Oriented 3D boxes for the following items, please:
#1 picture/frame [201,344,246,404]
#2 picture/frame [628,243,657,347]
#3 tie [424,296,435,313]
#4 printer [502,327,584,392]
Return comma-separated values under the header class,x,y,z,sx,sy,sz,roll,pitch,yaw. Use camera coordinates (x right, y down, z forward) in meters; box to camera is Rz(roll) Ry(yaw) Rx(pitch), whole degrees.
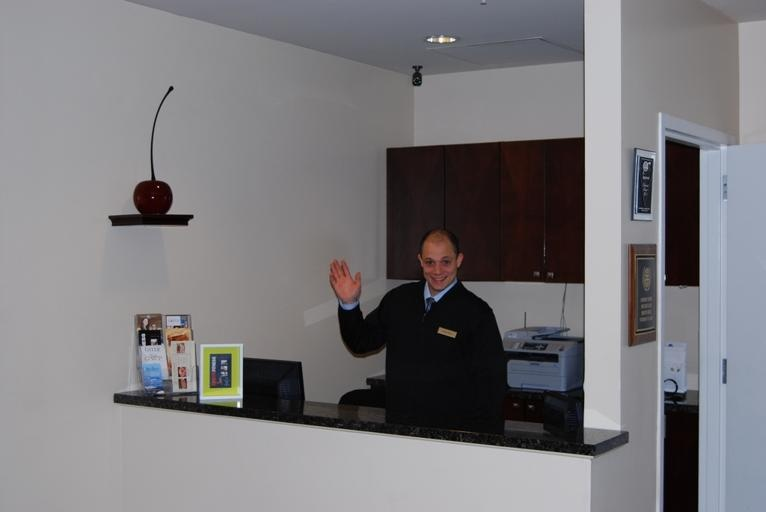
class,x,y,z,sx,sy,sz,roll,pitch,yaw
picture/frame,-0.923,0.671,3.827,0.285,0.398,0.039,0,-2,-10
picture/frame,1.302,0.191,3.400,0.056,0.611,0.510,-1,-1,27
tie,0.259,0.267,3.801,0.050,0.076,0.019,-6,-19,40
printer,1.236,0.760,5.042,0.569,0.413,0.631,-1,-2,-34
